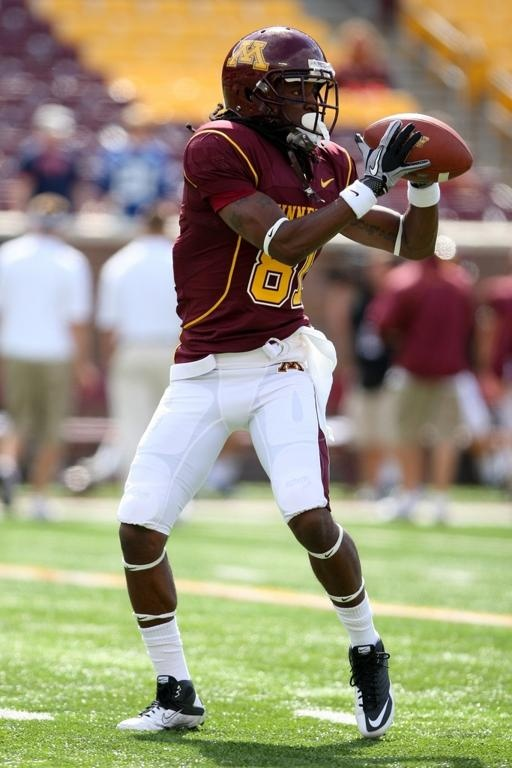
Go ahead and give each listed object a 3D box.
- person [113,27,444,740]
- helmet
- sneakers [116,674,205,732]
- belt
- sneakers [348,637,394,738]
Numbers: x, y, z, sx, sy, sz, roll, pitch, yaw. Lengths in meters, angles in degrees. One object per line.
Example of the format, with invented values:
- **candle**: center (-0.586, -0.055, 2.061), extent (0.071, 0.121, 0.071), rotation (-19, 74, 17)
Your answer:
- **person**: center (0.059, 0.007, 2.034), extent (0.824, 1.553, 0.542), rotation (4, 3, 26)
- **helmet**: center (0.059, -0.747, 2.103), extent (0.303, 0.202, 0.213), rotation (15, 25, 21)
- **sneakers**: center (-0.208, 0.707, 1.932), extent (0.195, 0.116, 0.077), rotation (4, -3, -32)
- **belt**: center (-0.118, -0.049, 2.090), extent (0.378, 0.075, 0.267), rotation (-10, 6, -30)
- **sneakers**: center (0.258, 0.670, 1.985), extent (0.102, 0.114, 0.285), rotation (-11, 25, 13)
